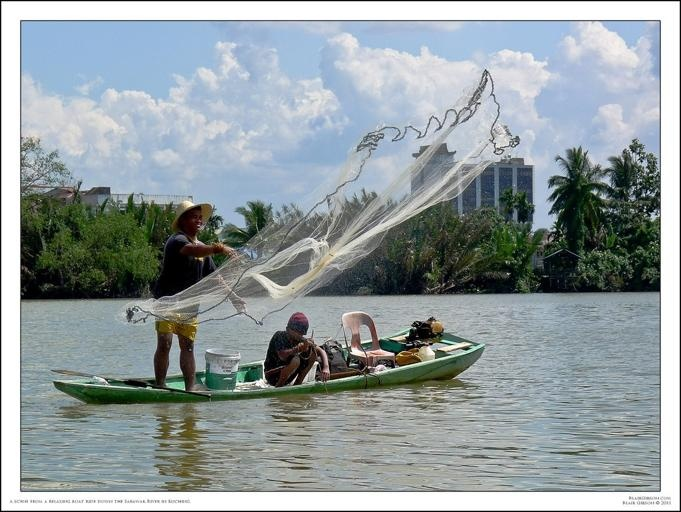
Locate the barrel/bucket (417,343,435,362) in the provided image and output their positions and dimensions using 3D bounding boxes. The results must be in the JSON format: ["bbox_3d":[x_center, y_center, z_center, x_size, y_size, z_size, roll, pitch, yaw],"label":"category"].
[{"bbox_3d":[1.604,1.799,17.363,0.226,0.318,0.294,-13,39,-7],"label":"barrel/bucket"}]

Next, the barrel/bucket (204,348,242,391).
[{"bbox_3d":[-1.993,1.920,15.667,0.624,0.603,0.634,1,-5,0],"label":"barrel/bucket"}]

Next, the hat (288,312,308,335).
[{"bbox_3d":[-0.749,1.120,15.851,0.279,0.269,0.385,3,17,-44],"label":"hat"}]

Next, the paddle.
[{"bbox_3d":[-3.557,2.162,15.794,2.296,0.183,0.263,8,24,3],"label":"paddle"}]

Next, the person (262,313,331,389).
[{"bbox_3d":[-0.764,1.586,15.874,1.111,1.257,0.557,0,8,-4],"label":"person"}]
